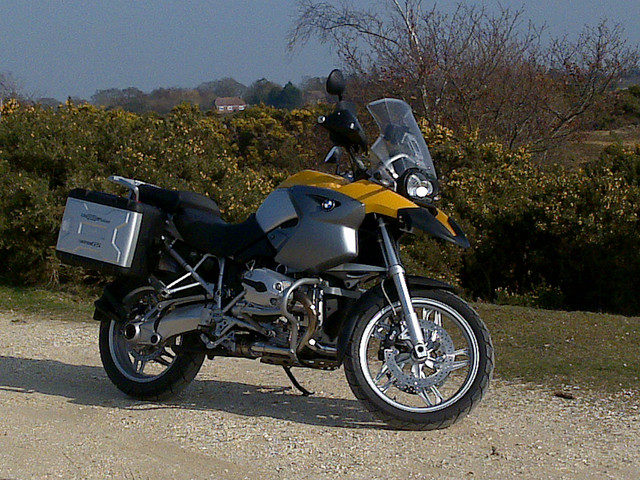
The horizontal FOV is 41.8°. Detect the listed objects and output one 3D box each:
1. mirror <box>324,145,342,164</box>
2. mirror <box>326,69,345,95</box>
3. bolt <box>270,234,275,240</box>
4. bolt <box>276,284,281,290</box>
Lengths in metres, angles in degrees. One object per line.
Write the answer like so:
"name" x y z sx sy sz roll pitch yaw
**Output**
"mirror" 0.138 -0.864 8.533 0.178 0.198 0.225 1 12 -1
"mirror" 0.160 -1.611 8.524 0.183 0.256 0.385 1 12 2
"bolt" -0.489 -0.027 8.674 0.063 0.057 0.014 -1 -6 -7
"bolt" -0.416 0.476 8.484 0.048 0.044 0.014 7 6 19
